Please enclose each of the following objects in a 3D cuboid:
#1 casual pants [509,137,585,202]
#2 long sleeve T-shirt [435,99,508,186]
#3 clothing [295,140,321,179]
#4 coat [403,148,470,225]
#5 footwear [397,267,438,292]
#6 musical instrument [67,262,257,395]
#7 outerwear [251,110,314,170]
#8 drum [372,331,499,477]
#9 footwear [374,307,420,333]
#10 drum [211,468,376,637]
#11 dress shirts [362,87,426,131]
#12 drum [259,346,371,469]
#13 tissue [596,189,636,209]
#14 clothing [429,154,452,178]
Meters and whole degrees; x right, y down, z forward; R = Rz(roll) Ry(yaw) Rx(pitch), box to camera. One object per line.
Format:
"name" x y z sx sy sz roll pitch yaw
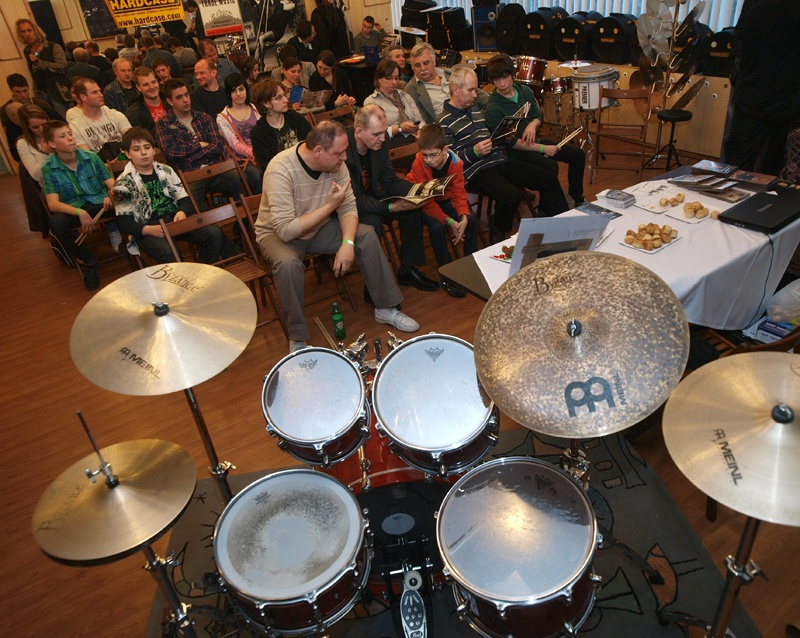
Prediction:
"casual pants" 1.277 -1.301 5.179 0.513 0.572 0.674 -11 4 -24
"long sleeve T-shirt" 0.534 -1.418 4.865 0.488 0.684 0.281 -29 7 -12
"clothing" -0.540 -0.989 3.659 0.116 0.219 0.167 -33 55 -17
"coat" 0.298 -0.996 4.353 0.468 0.484 0.418 11 20 30
"footwear" 0.123 -0.298 4.467 0.363 0.157 0.138 17 50 15
"musical instrument" -0.897 0.113 2.330 0.572 0.137 0.582 34 59 20
"outerwear" -0.990 -1.572 5.027 0.508 0.500 0.261 -34 77 -10
"drum" 0.142 0.382 2.522 0.527 0.215 0.538 -5 60 8
"footwear" -0.018 -0.003 4.067 0.322 0.120 0.139 20 53 19
"drum" -0.393 0.856 2.190 0.544 0.270 0.526 -1 38 1
"dress shirts" -0.024 -1.936 5.369 0.346 0.157 0.483 -23 66 -18
"drum" -0.364 0.368 2.534 0.433 0.230 0.508 -13 39 -15
"tissue" 1.329 -0.742 3.586 0.156 0.039 0.160 21 43 31
"clothing" 0.304 -1.125 4.289 0.129 0.188 0.067 -2 14 -1
